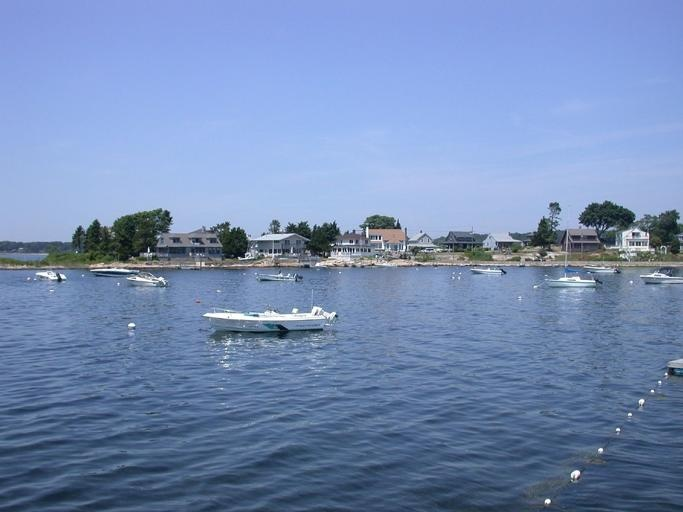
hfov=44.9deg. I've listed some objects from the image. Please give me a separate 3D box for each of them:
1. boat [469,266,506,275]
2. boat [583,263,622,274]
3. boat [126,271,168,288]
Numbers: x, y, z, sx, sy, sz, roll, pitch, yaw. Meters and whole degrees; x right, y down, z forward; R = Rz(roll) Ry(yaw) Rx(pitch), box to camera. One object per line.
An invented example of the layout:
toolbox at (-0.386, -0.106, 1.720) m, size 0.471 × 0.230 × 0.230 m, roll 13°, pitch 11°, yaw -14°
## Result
boat at (29.203, 2.970, 165.188) m, size 6.044 × 1.235 × 1.570 m, roll 3°, pitch 0°, yaw 12°
boat at (48.984, 2.632, 159.347) m, size 8.467 × 1.835 × 2.780 m, roll 1°, pitch -2°, yaw 19°
boat at (-28.404, 3.526, 119.149) m, size 7.293 × 1.752 × 2.498 m, roll 4°, pitch 5°, yaw 33°
